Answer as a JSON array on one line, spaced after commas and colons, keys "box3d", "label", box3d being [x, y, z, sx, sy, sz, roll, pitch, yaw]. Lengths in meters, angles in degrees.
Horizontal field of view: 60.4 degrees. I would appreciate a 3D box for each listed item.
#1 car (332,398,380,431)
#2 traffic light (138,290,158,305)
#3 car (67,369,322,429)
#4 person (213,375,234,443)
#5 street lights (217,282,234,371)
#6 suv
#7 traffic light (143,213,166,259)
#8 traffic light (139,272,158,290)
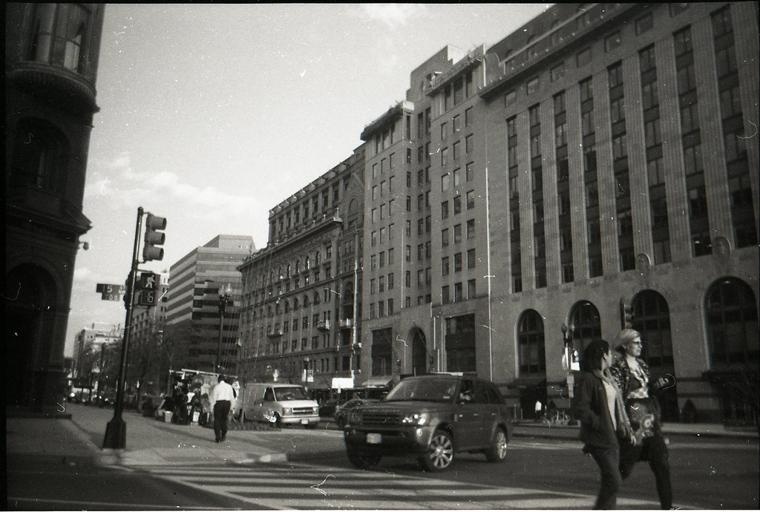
[{"box3d": [-1.005, 4.403, 18.449, 1.040, 0.987, 2.284, 6, -13, -23], "label": "car"}, {"box3d": [-4.936, 0.887, 13.855, 0.326, 0.330, 0.328, 2, -6, -11], "label": "traffic light"}, {"box3d": [-3.815, 3.878, 17.271, 3.350, 1.537, 1.762, -9, -16, 30], "label": "car"}, {"box3d": [-3.583, 3.409, 14.775, 0.496, 1.122, 1.175, 0, -1, -8], "label": "person"}, {"box3d": [-3.628, 1.697, 15.299, 0.398, 1.569, 0.807, 0, 0, -5], "label": "street lights"}, {"box3d": [1.181, 3.402, 13.320, 1.687, 1.370, 3.094, -19, -31, 36], "label": "suv"}, {"box3d": [-4.591, -0.378, 13.272, 0.417, 0.841, 1.041, 0, -1, -21], "label": "traffic light"}, {"box3d": [-4.883, 0.516, 13.733, 0.431, 0.276, 0.266, 0, -1, -17], "label": "traffic light"}]
